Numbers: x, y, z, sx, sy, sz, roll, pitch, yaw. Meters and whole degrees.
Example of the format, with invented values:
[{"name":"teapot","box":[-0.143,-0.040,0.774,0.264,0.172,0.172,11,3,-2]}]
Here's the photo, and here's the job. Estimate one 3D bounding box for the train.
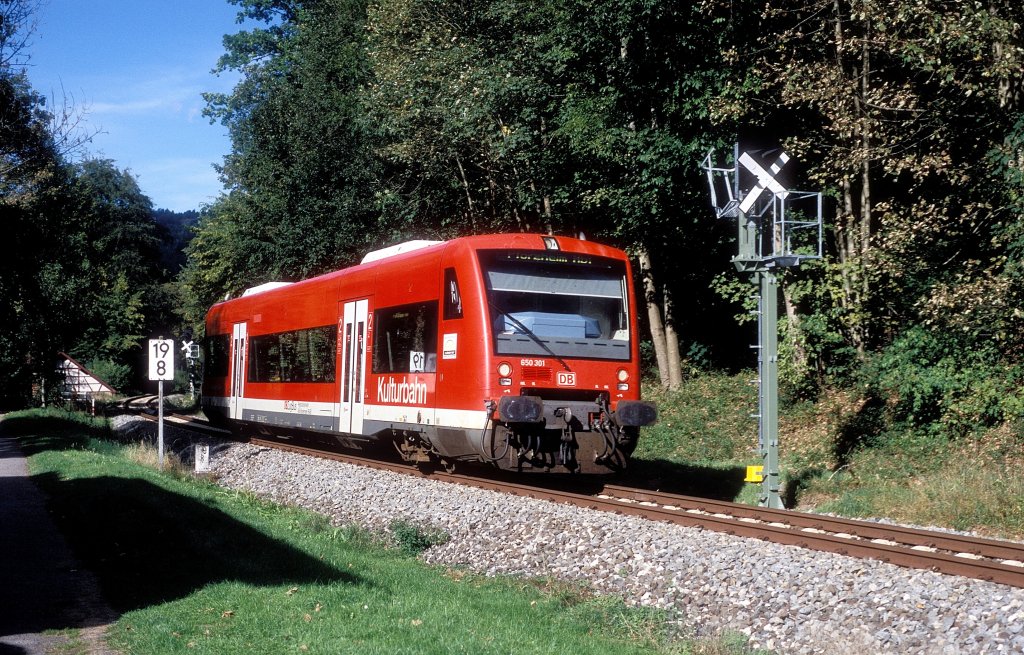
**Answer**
[{"name":"train","box":[-4.076,0.729,27.024,4.462,5.690,20.734,1,-2,-26]}]
